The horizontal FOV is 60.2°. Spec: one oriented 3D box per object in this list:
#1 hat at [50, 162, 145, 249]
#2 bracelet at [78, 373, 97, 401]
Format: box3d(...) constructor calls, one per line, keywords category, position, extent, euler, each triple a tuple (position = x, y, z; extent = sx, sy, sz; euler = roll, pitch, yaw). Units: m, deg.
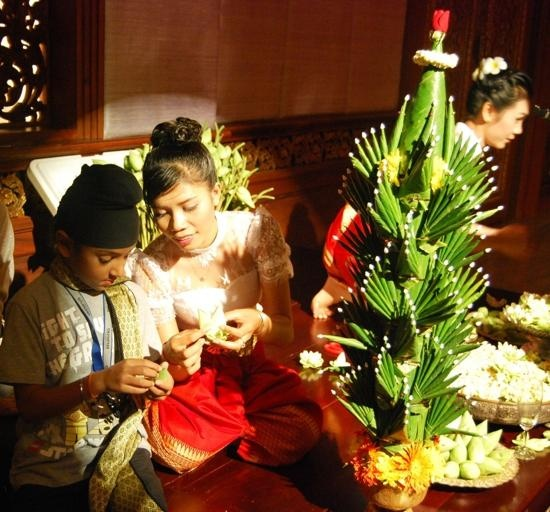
box3d(category="hat", position=(-0.389, -0.114, 1.137), extent=(0.187, 0.163, 0.187), euler=(-7, 36, -3))
box3d(category="bracelet", position=(-0.408, 0.292, 1.057), extent=(0.023, 0.054, 0.044), euler=(-9, 33, -10))
